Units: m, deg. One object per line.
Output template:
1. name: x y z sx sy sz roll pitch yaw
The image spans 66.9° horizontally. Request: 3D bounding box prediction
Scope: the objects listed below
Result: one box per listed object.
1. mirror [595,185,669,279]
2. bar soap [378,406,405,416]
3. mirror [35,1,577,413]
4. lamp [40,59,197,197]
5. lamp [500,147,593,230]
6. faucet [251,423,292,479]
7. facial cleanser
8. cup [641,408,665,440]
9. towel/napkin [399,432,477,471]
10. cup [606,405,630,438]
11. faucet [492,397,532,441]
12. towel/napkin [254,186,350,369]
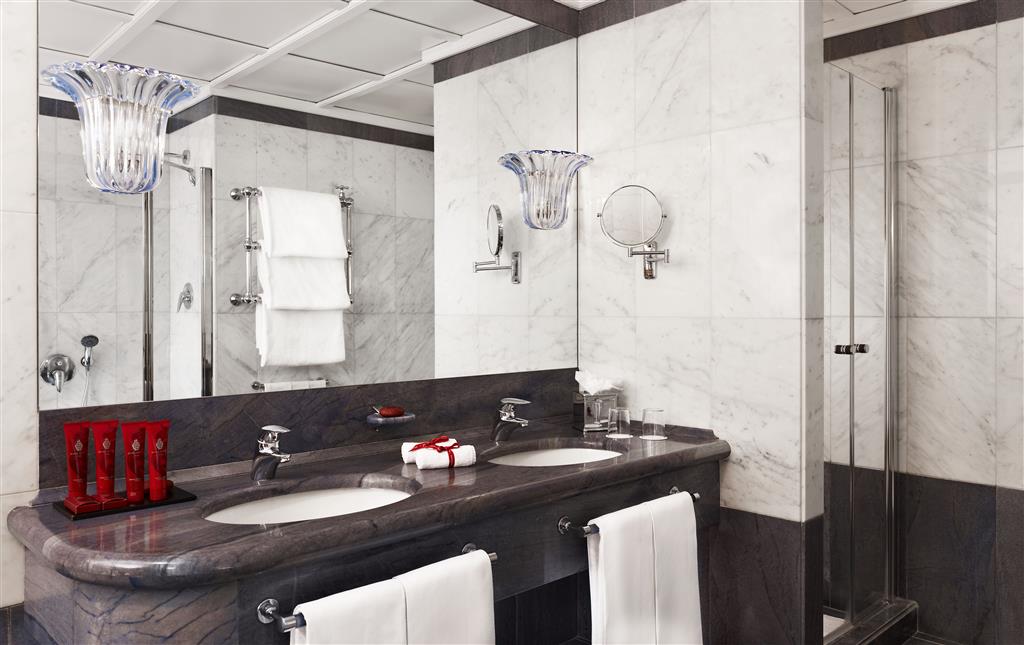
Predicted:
1. mirror: 0.561 -0.407 3.501 0.459 0.602 0.084 0 -4 18
2. bar soap: -0.486 0.350 3.139 0.087 0.039 0.039 1 -40 -25
3. mirror: -0.841 -0.444 2.989 1.896 1.271 0.022 -4 4 -31
4. lamp: -1.319 -0.647 2.626 0.440 0.411 0.114 -3 3 -25
5. lamp: 0.142 -0.573 3.519 0.307 0.355 0.387 0 6 -36
6. faucet: -0.862 0.462 2.757 0.131 0.192 0.098 5 -1 3
7. facial cleanser: -1.289 0.446 2.516 0.270 0.236 0.084 1 -1 -26
8. cup: 0.603 0.431 3.301 0.093 0.124 0.096 -2 3 0
9. towel/napkin: -0.263 0.491 2.950 0.300 0.095 0.195 -2 3 -14
10. cup: 0.474 0.446 3.437 0.119 0.126 0.119 -1 -4 0
11. faucet: 0.000 0.419 3.309 0.188 0.180 0.129 0 12 15
12. towel/napkin: -0.811 -0.174 2.997 0.366 0.673 0.034 -4 4 -33
